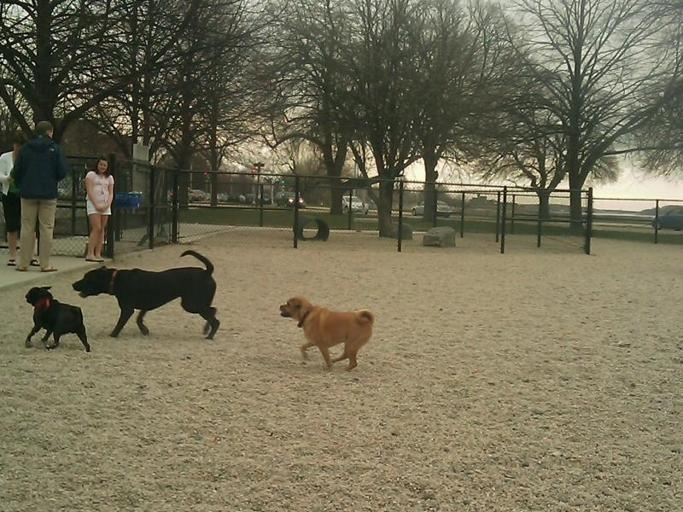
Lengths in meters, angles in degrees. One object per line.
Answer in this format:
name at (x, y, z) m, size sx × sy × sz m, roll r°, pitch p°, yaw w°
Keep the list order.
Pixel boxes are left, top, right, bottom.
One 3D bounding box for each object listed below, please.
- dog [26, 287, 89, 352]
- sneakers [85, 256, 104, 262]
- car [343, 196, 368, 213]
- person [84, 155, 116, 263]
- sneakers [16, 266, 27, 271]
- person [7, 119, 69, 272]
dog at (-3.499, 0.752, 9.784) m, size 0.971 × 0.748 × 0.363 m, roll 7°, pitch -2°, yaw 18°
sneakers at (-4.794, 0.033, 15.536) m, size 0.347 × 0.142 × 0.119 m, roll 0°, pitch 5°, yaw 8°
car at (1.155, -3.551, 56.850) m, size 1.445 × 1.133 × 3.224 m, roll -1°, pitch 4°, yaw -12°
person at (-4.601, -0.856, 15.194) m, size 0.526 × 2.070 × 0.569 m, roll -2°, pitch 14°, yaw -19°
sneakers at (-5.510, 0.203, 13.797) m, size 0.196 × 0.064 × 0.081 m, roll 6°, pitch 21°, yaw 16°
person at (-5.152, -0.999, 13.629) m, size 0.867 × 2.524 × 0.506 m, roll -4°, pitch 15°, yaw -24°
